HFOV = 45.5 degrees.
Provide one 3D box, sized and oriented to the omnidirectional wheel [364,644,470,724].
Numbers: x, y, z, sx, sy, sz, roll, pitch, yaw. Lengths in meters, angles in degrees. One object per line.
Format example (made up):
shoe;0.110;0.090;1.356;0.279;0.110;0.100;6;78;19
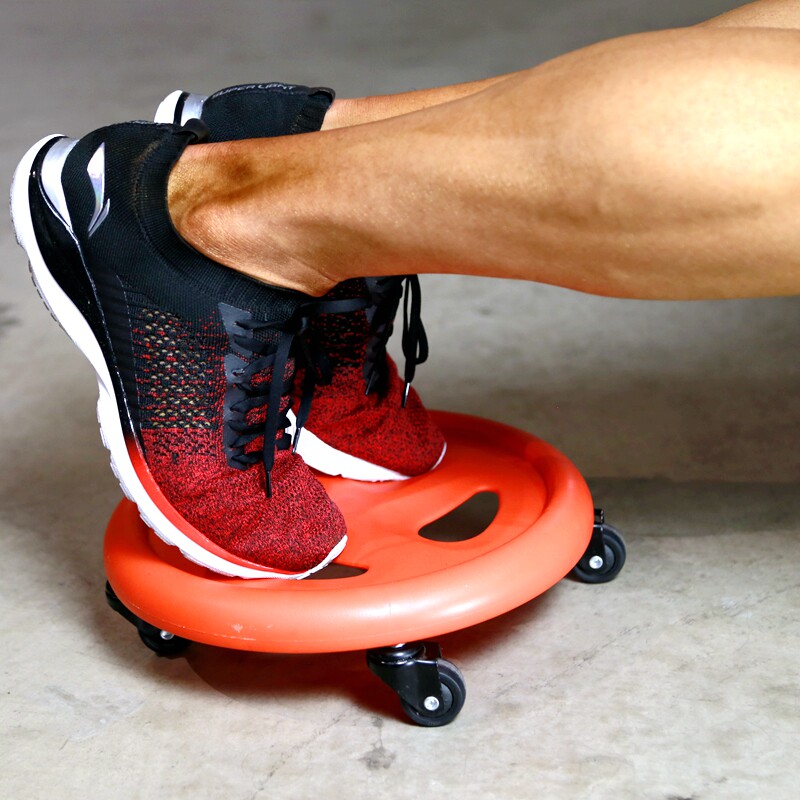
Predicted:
omnidirectional wheel;0.015;0.292;0.968;0.124;0.074;0.054;-2;11;9

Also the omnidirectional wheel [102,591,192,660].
omnidirectional wheel;-0.314;0.259;1.098;0.114;0.023;0.055;29;14;5
